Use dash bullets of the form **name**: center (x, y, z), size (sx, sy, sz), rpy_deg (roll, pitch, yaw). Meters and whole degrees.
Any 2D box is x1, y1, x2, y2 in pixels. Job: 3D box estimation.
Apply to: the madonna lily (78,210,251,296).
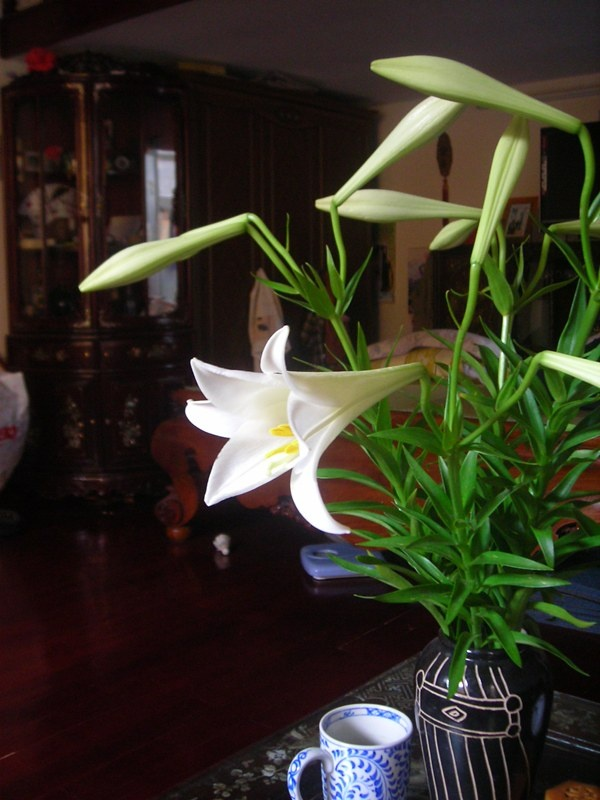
- **madonna lily**: center (-0.110, -0.105, 0.512), size (0.043, 0.053, 0.140), rpy_deg (9, 16, 35)
